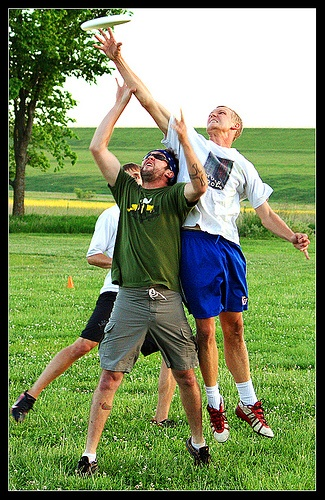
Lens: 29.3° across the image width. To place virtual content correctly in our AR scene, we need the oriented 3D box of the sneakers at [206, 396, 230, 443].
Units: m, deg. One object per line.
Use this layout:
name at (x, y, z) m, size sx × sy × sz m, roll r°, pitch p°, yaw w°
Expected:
sneakers at (0.441, 1.393, 5.033) m, size 0.123 × 0.384 × 0.146 m, roll -10°, pitch -10°, yaw 7°

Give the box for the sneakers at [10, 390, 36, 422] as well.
sneakers at (-1.197, 1.371, 5.514) m, size 0.150 × 0.124 × 0.367 m, roll -8°, pitch 43°, yaw 25°

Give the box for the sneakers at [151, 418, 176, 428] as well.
sneakers at (0.013, 1.550, 5.548) m, size 0.236 × 0.099 × 0.075 m, roll 6°, pitch -1°, yaw 1°

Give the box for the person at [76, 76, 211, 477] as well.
person at (-0.123, 0.200, 4.674) m, size 1.036 × 3.006 × 0.830 m, roll 3°, pitch -6°, yaw -8°

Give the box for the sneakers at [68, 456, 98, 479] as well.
sneakers at (-0.561, 1.592, 4.583) m, size 0.159 × 0.172 × 0.090 m, roll 5°, pitch 5°, yaw -8°

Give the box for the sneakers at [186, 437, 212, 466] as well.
sneakers at (0.281, 1.602, 4.876) m, size 0.089 × 0.111 × 0.239 m, roll 0°, pitch 43°, yaw -13°

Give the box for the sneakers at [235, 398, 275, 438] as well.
sneakers at (0.782, 1.419, 5.305) m, size 0.146 × 0.214 × 0.446 m, roll 9°, pitch 14°, yaw -39°
